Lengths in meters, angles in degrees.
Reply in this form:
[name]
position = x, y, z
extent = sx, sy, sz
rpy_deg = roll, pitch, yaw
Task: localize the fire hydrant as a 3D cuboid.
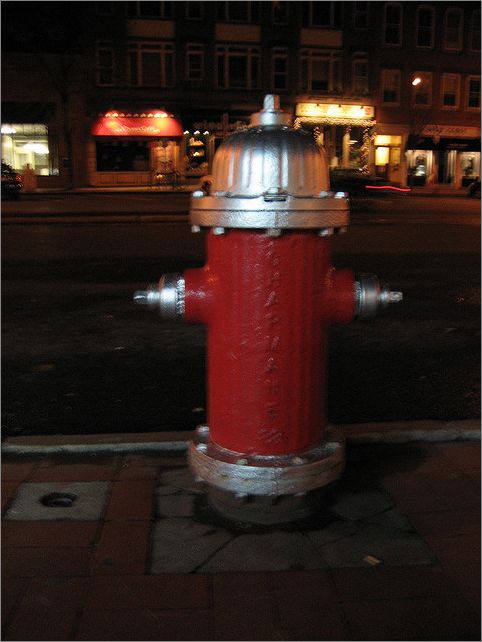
[fire hydrant]
position = 0.100, -0.013, 2.388
extent = 0.885, 1.696, 0.412
rpy_deg = 2, 12, 10
